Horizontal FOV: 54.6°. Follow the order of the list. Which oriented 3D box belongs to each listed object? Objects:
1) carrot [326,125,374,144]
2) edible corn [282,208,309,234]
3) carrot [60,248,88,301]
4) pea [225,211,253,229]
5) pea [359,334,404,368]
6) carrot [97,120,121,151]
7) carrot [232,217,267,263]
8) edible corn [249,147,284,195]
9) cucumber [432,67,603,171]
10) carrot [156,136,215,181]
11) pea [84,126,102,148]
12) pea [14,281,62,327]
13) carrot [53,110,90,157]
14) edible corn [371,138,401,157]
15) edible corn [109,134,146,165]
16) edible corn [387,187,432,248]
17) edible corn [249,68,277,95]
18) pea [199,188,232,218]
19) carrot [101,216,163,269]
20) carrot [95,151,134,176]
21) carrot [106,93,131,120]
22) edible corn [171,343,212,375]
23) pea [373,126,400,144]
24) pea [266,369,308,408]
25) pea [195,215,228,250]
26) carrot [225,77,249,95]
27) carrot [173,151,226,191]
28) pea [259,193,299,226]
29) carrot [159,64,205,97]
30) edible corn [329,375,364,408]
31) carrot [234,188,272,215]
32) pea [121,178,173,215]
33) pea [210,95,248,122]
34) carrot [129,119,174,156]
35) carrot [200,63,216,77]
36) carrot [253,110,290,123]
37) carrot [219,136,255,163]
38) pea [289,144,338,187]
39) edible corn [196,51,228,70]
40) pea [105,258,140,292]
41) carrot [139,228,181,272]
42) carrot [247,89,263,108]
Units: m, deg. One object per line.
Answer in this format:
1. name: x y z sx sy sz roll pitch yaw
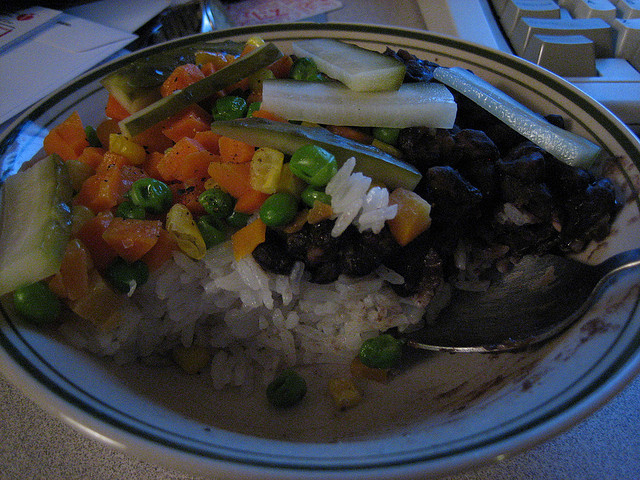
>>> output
1. carrot: 0.096 -0.331 1.984 0.177 0.048 0.051 18 20 -7
2. edible corn: -0.069 -0.052 1.863 0.072 0.017 0.071 -49 28 18
3. carrot: -0.693 0.095 1.750 0.071 0.031 0.136 3 89 -34
4. pea: -0.253 -0.059 1.909 0.049 0.061 0.023 8 60 -20
5. pea: 0.175 0.318 1.794 0.103 0.080 0.054 -9 82 2
6. carrot: -0.695 -0.327 2.039 0.111 0.111 0.027 21 20 39
7. carrot: -0.220 0.000 1.874 0.118 0.036 0.119 -38 50 24
8. edible corn: -0.158 -0.212 1.847 0.113 0.114 0.186 -3 25 -4
9. cucumber: 0.619 -0.390 1.977 0.583 0.160 0.095 27 105 -6
10. carrot: -0.429 -0.251 1.964 0.182 0.115 0.131 -14 25 -20
11. pea: -0.744 -0.331 2.023 0.041 0.018 0.078 -20 104 -32
12. pea: -0.770 0.175 1.694 0.094 0.067 0.120 0 57 -29
13. carrot: -0.805 -0.334 2.021 0.119 0.039 0.124 43 53 -6
14. edible corn: 0.202 -0.281 1.914 0.095 0.027 0.022 26 61 13
15. edible corn: -0.600 -0.283 1.961 0.094 0.094 0.035 17 70 36
16. edible corn: 0.261 -0.063 1.901 0.140 0.129 0.148 -33 86 6
17. edible corn: -0.196 -0.523 2.106 0.103 0.085 0.078 2 40 1
18. pea: -0.325 -0.101 1.913 0.070 0.051 0.092 -37 95 -18
19. carrot: -0.549 0.010 1.817 0.145 0.091 0.132 0 64 7
20. carrot: -0.641 -0.236 1.924 0.084 0.029 0.081 34 83 17
21. carrot: -0.654 -0.420 1.996 0.087 0.026 0.083 6 98 -3
22. edible corn: -0.379 0.343 1.855 0.128 0.153 0.048 12 106 -12
23. pea: 0.205 -0.328 1.938 0.053 0.053 0.051 1 88 19
24. pea: -0.094 0.416 1.743 0.096 0.041 0.091 -7 53 15
25. pea: -0.327 -0.029 1.936 0.094 0.104 0.081 -25 20 3
26. carrot: -0.279 -0.510 2.093 0.056 0.043 0.058 -11 83 24
27. carrot: -0.381 -0.220 1.911 0.136 0.125 0.051 16 35 -29
28. pea: -0.115 -0.095 1.855 0.125 0.091 0.096 -1 73 25
29. carrot: -0.443 -0.487 1.992 0.118 0.044 0.099 -13 38 33
30. edible corn: 0.073 0.427 1.753 0.068 0.026 0.080 -15 43 -17
31. carrot: -0.205 -0.111 1.860 0.070 0.098 0.035 -24 67 0
32. pea: -0.514 -0.128 1.850 0.123 0.056 0.094 -2 97 1
33. pea: -0.288 -0.412 1.965 0.101 0.055 0.095 4 54 5
34. carrot: -0.538 -0.313 1.967 0.108 0.101 0.034 -38 52 -7
35. carrot: -0.368 -0.554 2.032 0.046 0.018 0.046 -17 68 -17
36. carrot: -0.149 -0.378 1.916 0.106 0.026 0.023 15 35 12
37. carrot: -0.259 -0.265 1.879 0.088 0.087 0.030 13 27 14
38. pea: -0.018 -0.213 1.832 0.129 0.096 0.101 27 47 4
39. edible corn: -0.364 -0.598 2.063 0.074 0.023 0.074 16 45 -16
40. pea: -0.583 0.101 1.813 0.093 0.044 0.091 46 111 3
41. carrot: -0.480 0.038 1.860 0.120 0.029 0.118 -39 85 -1
42. carrot: -0.217 -0.470 2.059 0.064 0.018 0.062 -3 75 26
